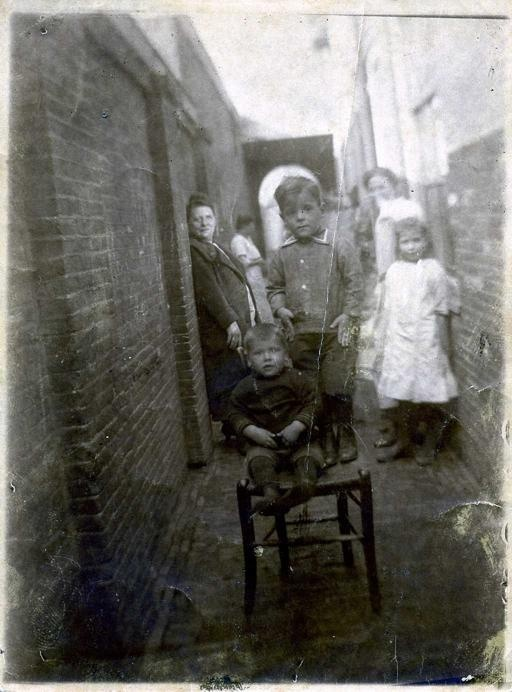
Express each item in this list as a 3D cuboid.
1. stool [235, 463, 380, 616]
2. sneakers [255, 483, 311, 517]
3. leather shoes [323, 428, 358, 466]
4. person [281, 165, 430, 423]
[{"bbox_3d":[0.247,0.761,2.437,0.425,0.463,0.509,-6,-5,4],"label":"stool"},{"bbox_3d":[0.104,0.552,2.223,0.190,0.077,0.103,-24,39,-21],"label":"sneakers"},{"bbox_3d":[0.305,0.365,2.235,0.093,0.054,0.152,-7,51,6],"label":"leather shoes"},{"bbox_3d":[0.216,-0.153,2.145,0.303,0.868,0.076,-11,11,-19],"label":"person"}]
